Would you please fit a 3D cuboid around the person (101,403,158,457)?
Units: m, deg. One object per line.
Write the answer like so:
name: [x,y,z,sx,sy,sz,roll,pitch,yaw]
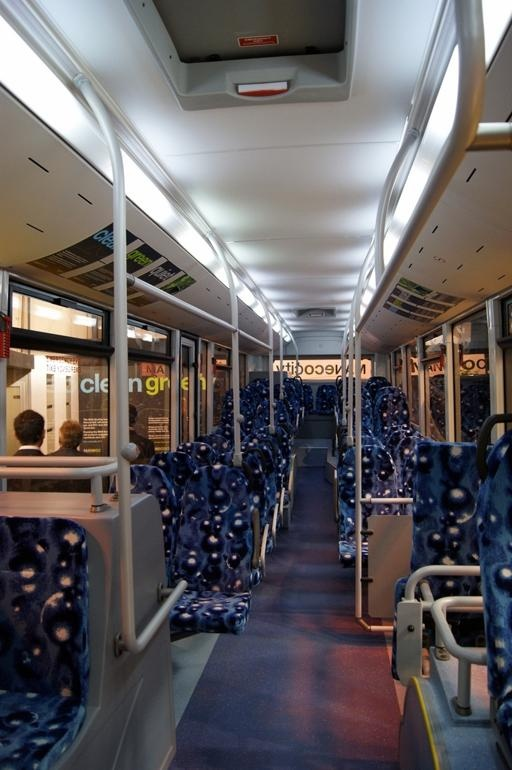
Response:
person: [-1.205,0.593,5.175,0.284,0.845,0.202,-3,21,8]
